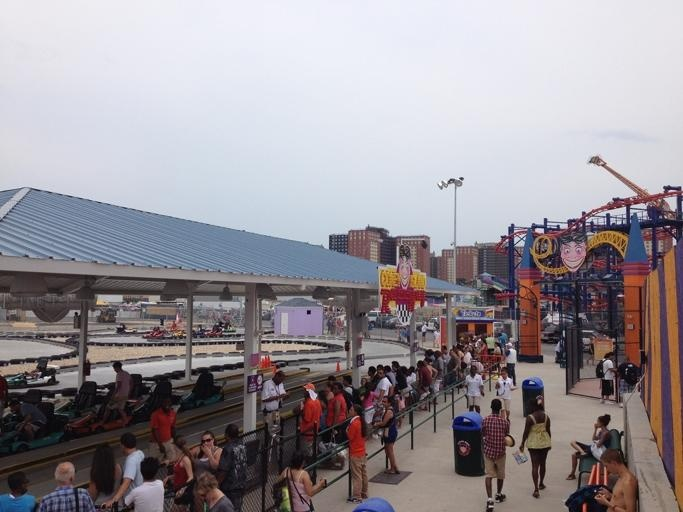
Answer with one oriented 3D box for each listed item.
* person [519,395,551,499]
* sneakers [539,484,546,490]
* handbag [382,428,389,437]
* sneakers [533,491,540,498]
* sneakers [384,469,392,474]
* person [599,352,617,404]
[{"bbox_3d":[4.237,4.112,13.345,0.626,2.011,1.115,-1,-5,17],"label":"person"},{"bbox_3d":[4.389,5.024,13.274,0.075,0.074,0.202,-2,-7,32],"label":"sneakers"},{"bbox_3d":[0.999,4.045,13.941,0.045,0.157,0.183,2,-7,26],"label":"handbag"},{"bbox_3d":[4.129,5.014,12.896,0.139,0.138,0.232,-1,-5,14],"label":"sneakers"},{"bbox_3d":[1.108,5.091,14.408,0.147,0.101,0.269,2,-4,-5],"label":"sneakers"},{"bbox_3d":[9.583,4.322,21.836,0.541,1.782,1.398,-1,-5,22],"label":"person"}]
